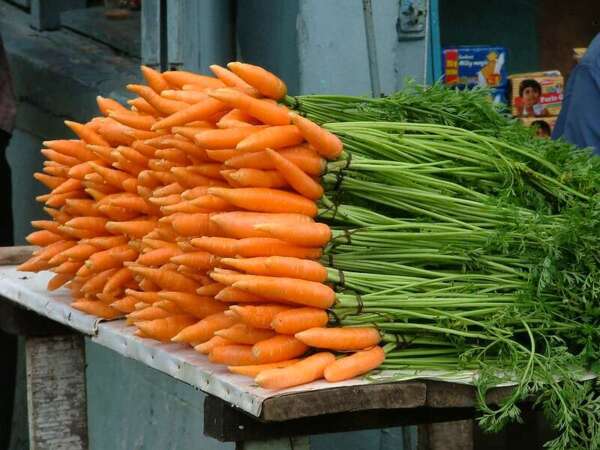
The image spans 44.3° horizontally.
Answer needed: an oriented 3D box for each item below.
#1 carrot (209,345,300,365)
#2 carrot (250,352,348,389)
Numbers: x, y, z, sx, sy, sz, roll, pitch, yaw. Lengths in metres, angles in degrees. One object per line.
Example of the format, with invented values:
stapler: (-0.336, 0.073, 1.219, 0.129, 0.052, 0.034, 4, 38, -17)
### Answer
carrot: (-0.196, 0.561, 3.166, 0.388, 0.085, 0.076, -2, -10, -15)
carrot: (-0.003, 0.600, 3.139, 0.447, 0.106, 0.113, -12, -12, -36)
